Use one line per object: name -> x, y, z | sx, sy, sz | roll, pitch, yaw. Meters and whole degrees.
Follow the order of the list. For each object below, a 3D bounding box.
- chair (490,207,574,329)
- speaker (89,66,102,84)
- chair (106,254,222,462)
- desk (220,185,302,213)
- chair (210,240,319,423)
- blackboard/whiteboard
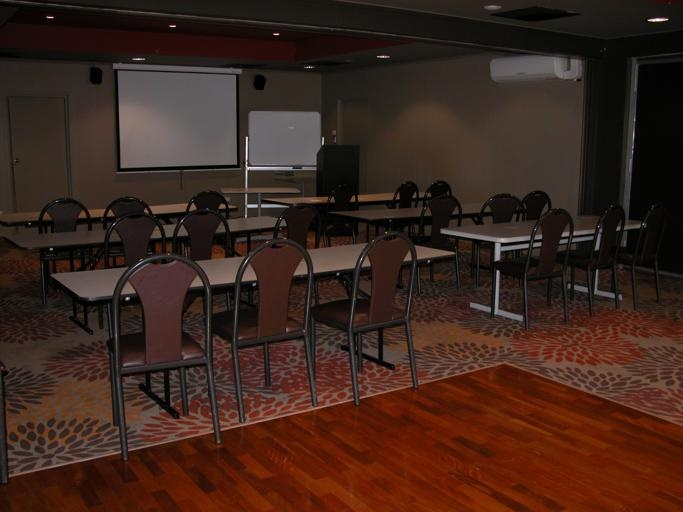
chair -> 1.875, 0.063, 4.888 | 0.636, 1.087, 0.688 | -7, 10, -25
speaker -> -4.327, -3.168, 8.883 | 0.233, 0.309, 0.279 | -4, 13, -20
chair -> -0.967, 0.474, 2.771 | 0.587, 1.063, 0.514 | -6, 14, -26
desk -> -1.247, -1.028, 8.179 | 0.989, 0.650, 0.491 | -3, 19, -11
chair -> -0.465, 0.392, 3.157 | 0.672, 1.089, 0.587 | -3, 13, -15
blackboard/whiteboard -> -0.871, -1.969, 8.549 | 1.361, 0.932, 0.125 | 0, -2, -6
